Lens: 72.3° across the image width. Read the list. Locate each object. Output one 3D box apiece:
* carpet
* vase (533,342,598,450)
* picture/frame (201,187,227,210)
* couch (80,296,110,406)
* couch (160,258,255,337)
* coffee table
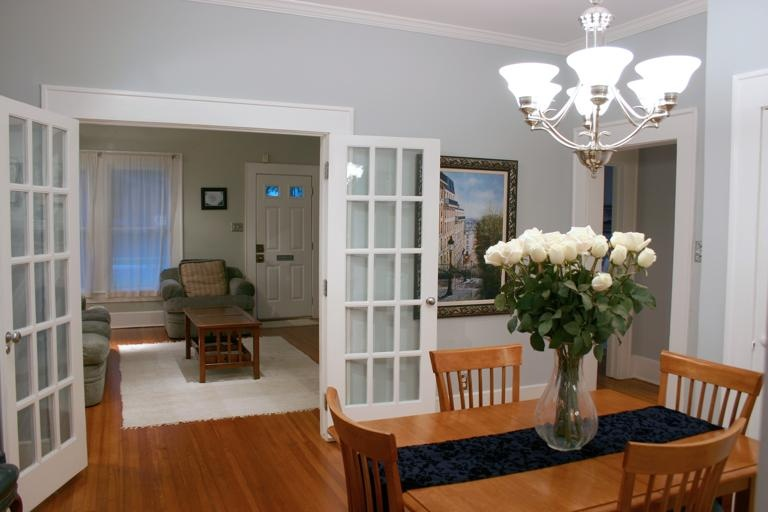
[{"bbox_3d":[-2.047,1.331,6.355,2.195,0.026,2.984,1,8,-20],"label":"carpet"},{"bbox_3d":[0.936,0.694,2.676,0.306,0.501,0.314,0,4,-30],"label":"vase"},{"bbox_3d":[-2.831,-0.954,8.637,0.361,0.377,0.030,0,7,-15],"label":"picture/frame"},{"bbox_3d":[-2.919,0.994,5.298,0.305,0.418,1.029,0,16,-24],"label":"couch"},{"bbox_3d":[-2.696,0.618,8.006,1.351,1.079,0.996,0,6,-30],"label":"couch"},{"bbox_3d":[-2.082,1.034,6.606,0.732,0.656,1.415,-1,5,-31],"label":"coffee table"}]
